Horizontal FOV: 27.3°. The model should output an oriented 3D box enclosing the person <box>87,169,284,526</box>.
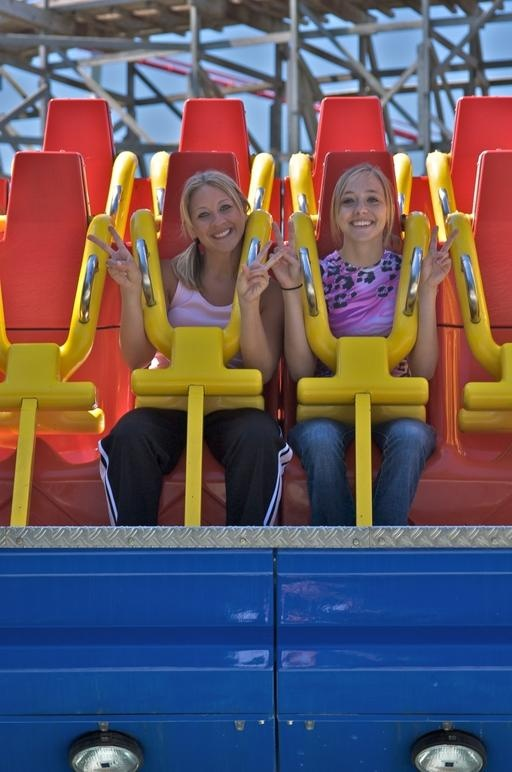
[{"bbox_3d":[-0.135,-0.097,2.135,0.394,0.719,0.603,0,6,-3],"label":"person"}]
